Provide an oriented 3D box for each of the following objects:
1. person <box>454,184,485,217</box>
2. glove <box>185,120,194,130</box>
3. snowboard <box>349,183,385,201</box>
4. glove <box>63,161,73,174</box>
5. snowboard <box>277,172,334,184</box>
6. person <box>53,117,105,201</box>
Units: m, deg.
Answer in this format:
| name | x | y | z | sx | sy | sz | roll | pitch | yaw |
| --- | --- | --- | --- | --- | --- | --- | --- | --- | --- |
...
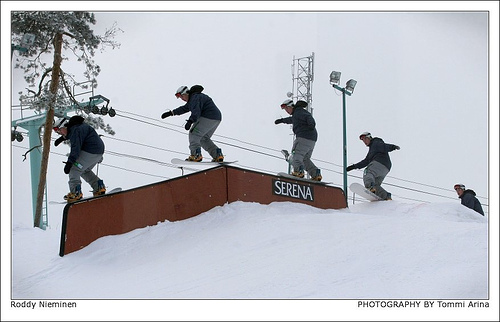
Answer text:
| name | x | y | z | sx | sy | sz | roll | pitch | yaw |
| --- | --- | --- | --- | --- | --- | --- | --- | --- | --- |
| person | 8.275 | 1.484 | 22.201 | 0.944 | 1.088 | 0.661 | -1 | -1 | 20 |
| glove | -1.853 | -1.078 | 17.598 | 0.242 | 0.289 | 0.758 | -1 | -1 | 5 |
| snowboard | 4.216 | 1.144 | 21.393 | 0.674 | 0.543 | 1.607 | -2 | -1 | 40 |
| glove | -4.607 | 0.159 | 14.880 | 0.187 | 0.181 | 0.357 | -32 | -23 | -46 |
| snowboard | 1.697 | 0.596 | 19.633 | 2.221 | 0.291 | 0.303 | -1 | -1 | -39 |
| person | -4.888 | -0.054 | 16.960 | 1.320 | 2.386 | 0.803 | -1 | -1 | -19 |
